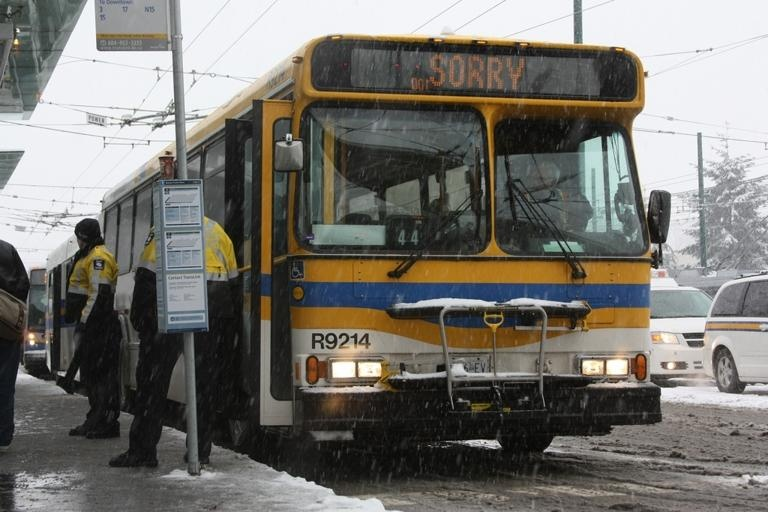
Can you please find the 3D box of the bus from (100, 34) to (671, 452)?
[{"bbox_3d":[0.672,-0.178,9.769,4.682,4.621,1.496,1,-2,-10],"label":"bus"}]

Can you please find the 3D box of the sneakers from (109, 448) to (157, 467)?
[{"bbox_3d":[-2.802,2.315,9.774,0.367,0.159,0.256,-2,-6,-4],"label":"sneakers"}]

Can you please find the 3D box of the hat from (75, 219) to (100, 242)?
[{"bbox_3d":[-3.902,-0.330,11.378,0.201,0.312,0.298,22,38,16],"label":"hat"}]
